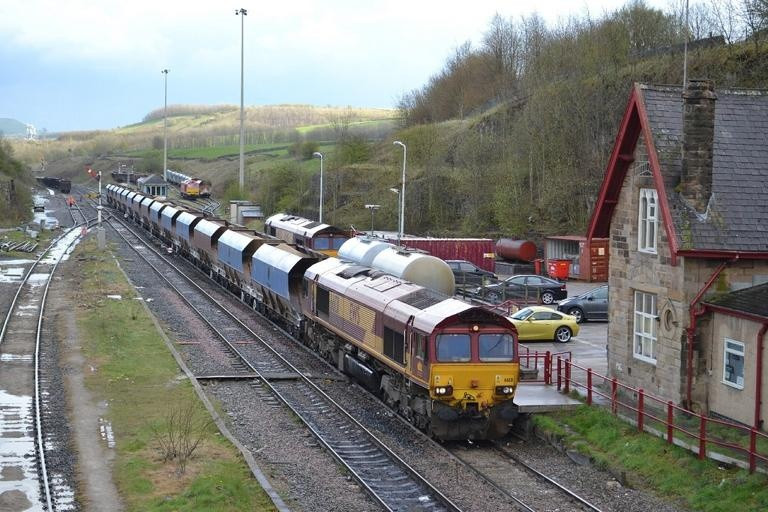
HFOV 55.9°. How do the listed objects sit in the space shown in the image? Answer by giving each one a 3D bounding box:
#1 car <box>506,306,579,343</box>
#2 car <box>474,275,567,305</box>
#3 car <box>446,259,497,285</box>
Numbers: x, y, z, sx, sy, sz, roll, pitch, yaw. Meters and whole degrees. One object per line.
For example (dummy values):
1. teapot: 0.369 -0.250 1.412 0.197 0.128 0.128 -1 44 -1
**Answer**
1. car: 7.587 3.428 37.612 4.390 1.704 2.628 1 2 3
2. car: 8.617 2.106 45.483 4.868 1.755 2.316 2 0 -3
3. car: 5.760 1.168 48.860 3.421 1.521 1.607 -1 5 -10
